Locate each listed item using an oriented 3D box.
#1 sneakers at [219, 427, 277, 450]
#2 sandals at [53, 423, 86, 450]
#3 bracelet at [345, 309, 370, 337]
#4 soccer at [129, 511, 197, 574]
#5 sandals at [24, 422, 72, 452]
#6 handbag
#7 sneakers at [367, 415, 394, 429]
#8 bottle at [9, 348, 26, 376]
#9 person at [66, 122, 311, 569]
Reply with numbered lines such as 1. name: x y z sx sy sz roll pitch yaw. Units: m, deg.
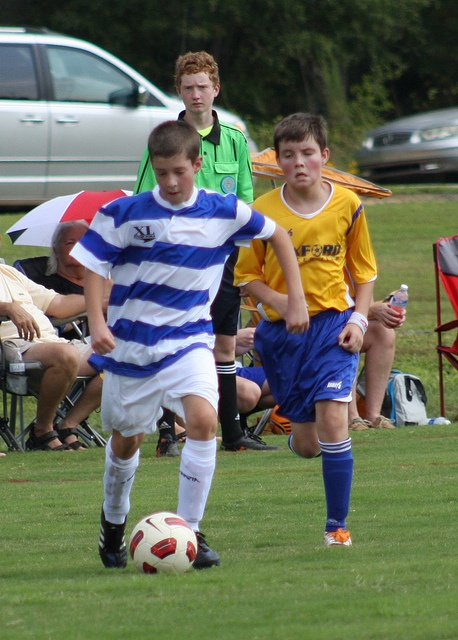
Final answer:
1. sneakers: 0.102 0.628 6.144 0.339 0.122 0.103 0 1 1
2. sandals: -0.878 0.636 6.333 0.244 0.090 0.085 24 19 39
3. bracelet: 0.476 0.001 4.197 0.082 0.076 0.063 34 57 -2
4. soccer: -0.206 0.720 3.716 0.220 0.187 0.197 -1 -31 -3
5. sandals: -0.976 0.622 6.186 0.289 0.101 0.110 2 4 39
6. handbag: 1.045 0.442 7.175 0.323 0.370 0.427 7 13 8
7. sneakers: 0.891 0.588 6.695 0.070 0.048 0.126 4 -8 -34
8. bottle: -1.125 0.214 6.094 0.104 0.047 0.125 2 55 -13
9. person: -0.124 0.074 3.816 0.743 1.473 0.357 -3 6 -14
